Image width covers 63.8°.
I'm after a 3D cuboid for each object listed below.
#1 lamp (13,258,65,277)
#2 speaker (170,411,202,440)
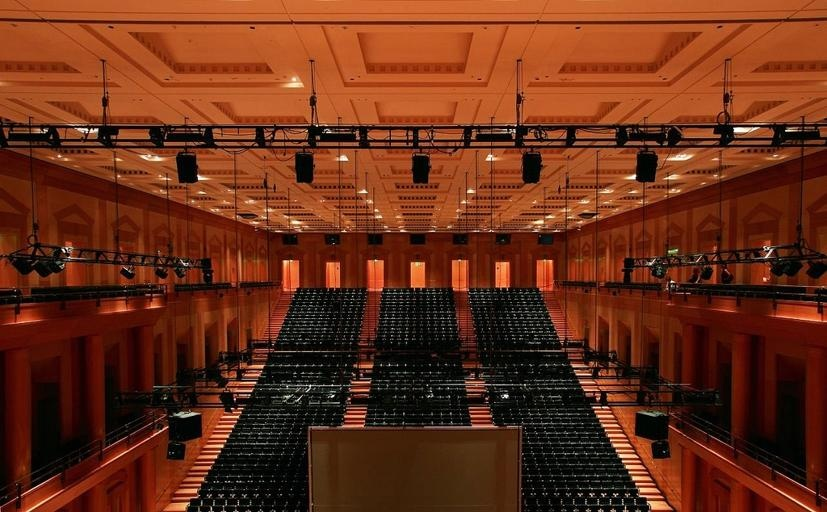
[{"bbox_3d":[-12.034,0.312,21.145,0.967,0.330,0.983,3,3,41],"label":"lamp"},{"bbox_3d":[-8.372,6.155,23.896,1.114,1.025,1.102,0,-5,-1],"label":"speaker"}]
